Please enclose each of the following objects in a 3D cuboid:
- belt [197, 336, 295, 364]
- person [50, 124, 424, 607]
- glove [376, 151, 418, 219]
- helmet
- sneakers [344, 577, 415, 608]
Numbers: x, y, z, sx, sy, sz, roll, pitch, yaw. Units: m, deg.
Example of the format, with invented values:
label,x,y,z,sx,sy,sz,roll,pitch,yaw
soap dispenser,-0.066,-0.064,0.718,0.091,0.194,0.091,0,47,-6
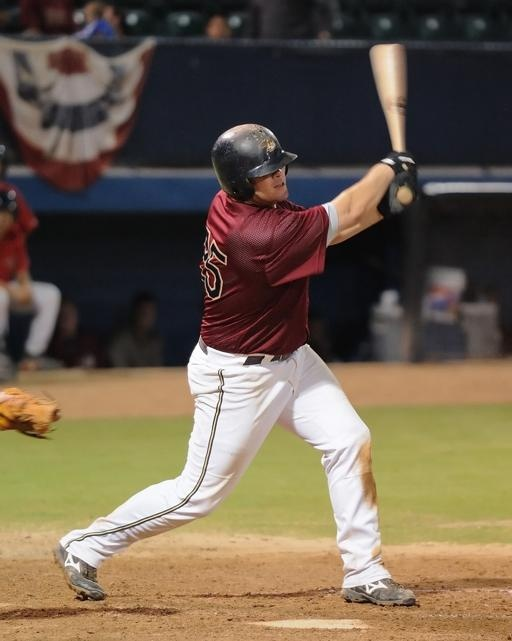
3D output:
label,x,y,z,sx,sy,sz,roll,pitch,yaw
belt,-0.058,0.090,2.808,0.300,0.062,0.113,2,6,21
person,-0.017,0.145,2.840,1.013,1.442,0.362,1,8,7
glove,0.435,-0.394,2.773,0.122,0.157,0.144,1,-4,-23
helmet,-0.017,-0.461,2.754,0.230,0.232,0.174,2,7,17
sneakers,0.371,0.809,2.866,0.233,0.085,0.081,-1,-2,15
